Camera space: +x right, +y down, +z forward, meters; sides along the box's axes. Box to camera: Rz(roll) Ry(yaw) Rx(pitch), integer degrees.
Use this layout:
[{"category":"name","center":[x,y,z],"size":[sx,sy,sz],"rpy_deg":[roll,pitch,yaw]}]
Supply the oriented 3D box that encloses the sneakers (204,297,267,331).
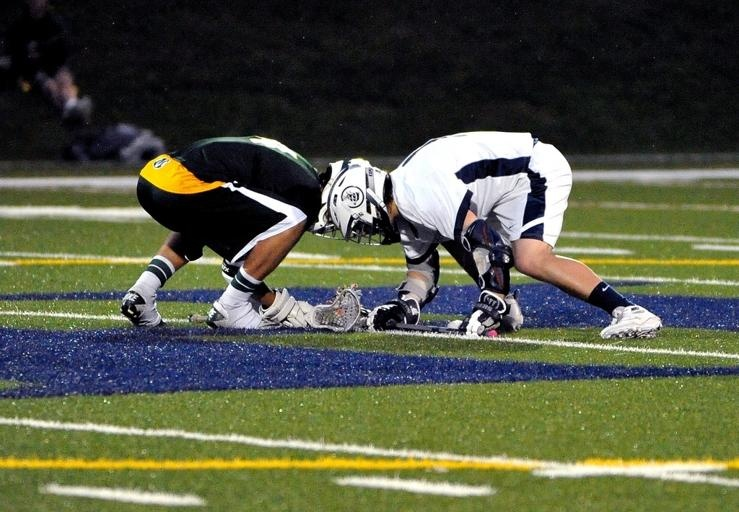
[{"category":"sneakers","center":[-0.929,0.419,7.719],"size":[0.518,0.209,0.169],"rpy_deg":[3,8,-9]}]

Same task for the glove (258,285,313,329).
[{"category":"glove","center":[-0.583,0.393,7.731],"size":[0.517,0.232,0.181],"rpy_deg":[16,25,-8]}]

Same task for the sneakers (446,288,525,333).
[{"category":"sneakers","center":[0.875,0.413,7.667],"size":[0.542,0.257,0.283],"rpy_deg":[-19,31,-37]}]

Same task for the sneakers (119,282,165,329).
[{"category":"sneakers","center":[-1.628,0.372,7.640],"size":[0.149,0.434,0.198],"rpy_deg":[2,63,34]}]

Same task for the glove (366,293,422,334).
[{"category":"glove","center":[0.186,0.426,7.737],"size":[0.366,0.157,0.196],"rpy_deg":[-18,59,2]}]

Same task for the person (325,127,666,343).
[{"category":"person","center":[0.880,-0.122,7.609],"size":[2.336,1.382,1.004],"rpy_deg":[-1,6,13]}]

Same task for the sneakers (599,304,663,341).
[{"category":"sneakers","center":[1.826,0.466,7.529],"size":[0.478,0.173,0.228],"rpy_deg":[0,46,-7]}]
